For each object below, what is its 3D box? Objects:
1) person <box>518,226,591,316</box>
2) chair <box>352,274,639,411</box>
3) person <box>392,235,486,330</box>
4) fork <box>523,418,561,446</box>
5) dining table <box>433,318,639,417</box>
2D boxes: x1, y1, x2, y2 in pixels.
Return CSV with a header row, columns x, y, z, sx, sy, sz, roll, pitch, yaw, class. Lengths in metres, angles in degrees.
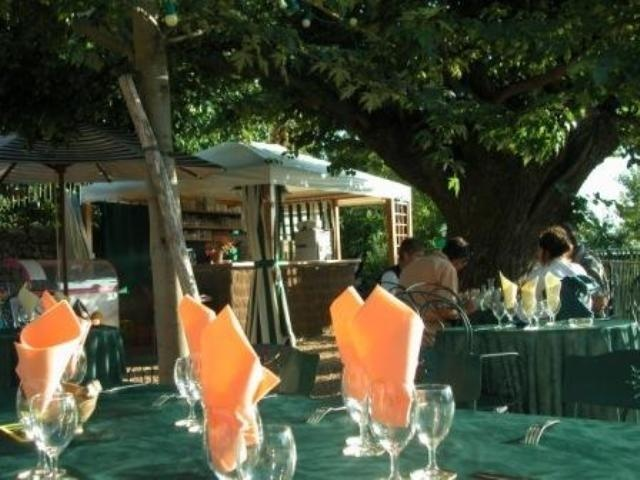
x,y,z,sx,sy,sz,roll,pitch,yaw,class
1.994,0.277,6.725,0.611,0.873,0.456,4,-12,-2,person
1.375,0.853,5.554,1.027,0.634,1.055,4,-9,-20,chair
1.019,0.551,6.721,0.632,1.155,0.507,6,7,-36,person
1.000,0.886,3.592,0.066,0.028,0.469,-3,5,27,fork
1.511,0.884,5.327,0.913,0.608,0.992,-1,-10,4,dining table
